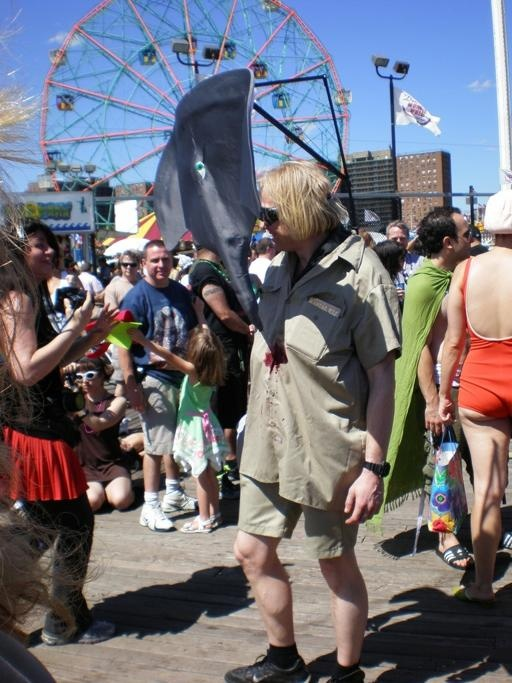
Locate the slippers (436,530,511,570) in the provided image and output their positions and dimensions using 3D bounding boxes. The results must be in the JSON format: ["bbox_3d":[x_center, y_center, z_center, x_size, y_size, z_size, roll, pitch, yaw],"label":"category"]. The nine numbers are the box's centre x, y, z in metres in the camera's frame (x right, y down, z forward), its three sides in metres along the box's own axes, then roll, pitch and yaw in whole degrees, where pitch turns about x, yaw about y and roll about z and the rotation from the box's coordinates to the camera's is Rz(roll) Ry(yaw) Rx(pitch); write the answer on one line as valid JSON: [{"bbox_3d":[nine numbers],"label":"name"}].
[{"bbox_3d":[1.031,1.053,3.570,0.164,0.092,0.379,-2,-3,-2],"label":"slippers"}]

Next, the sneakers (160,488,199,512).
[{"bbox_3d":[-0.490,1.035,4.589,0.319,0.110,0.096,2,3,-14],"label":"sneakers"}]

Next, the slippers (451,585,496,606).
[{"bbox_3d":[0.933,1.085,3.041,0.067,0.037,0.147,2,-1,-41],"label":"slippers"}]

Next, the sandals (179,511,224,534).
[{"bbox_3d":[-0.320,1.058,4.143,0.199,0.064,0.109,1,-1,1],"label":"sandals"}]

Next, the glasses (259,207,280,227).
[{"bbox_3d":[0.052,-0.376,2.107,0.058,0.032,0.070,1,-9,-1],"label":"glasses"}]

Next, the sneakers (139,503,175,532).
[{"bbox_3d":[-0.594,1.047,4.198,0.274,0.113,0.107,2,2,43],"label":"sneakers"}]
